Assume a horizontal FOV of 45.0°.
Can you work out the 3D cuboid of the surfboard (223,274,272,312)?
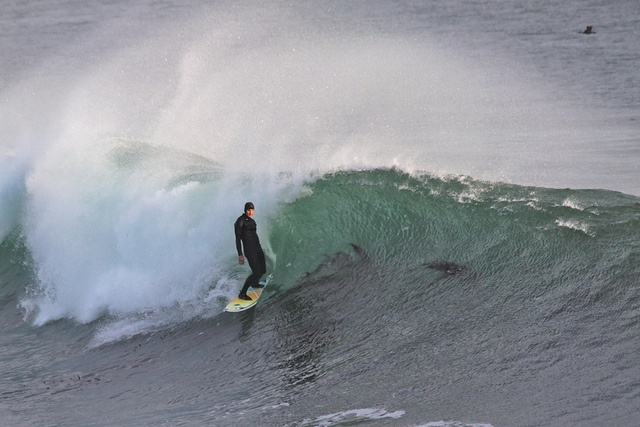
[{"bbox_3d":[-1.674,1.957,18.671,1.305,0.347,0.381,-30,46,-27],"label":"surfboard"}]
